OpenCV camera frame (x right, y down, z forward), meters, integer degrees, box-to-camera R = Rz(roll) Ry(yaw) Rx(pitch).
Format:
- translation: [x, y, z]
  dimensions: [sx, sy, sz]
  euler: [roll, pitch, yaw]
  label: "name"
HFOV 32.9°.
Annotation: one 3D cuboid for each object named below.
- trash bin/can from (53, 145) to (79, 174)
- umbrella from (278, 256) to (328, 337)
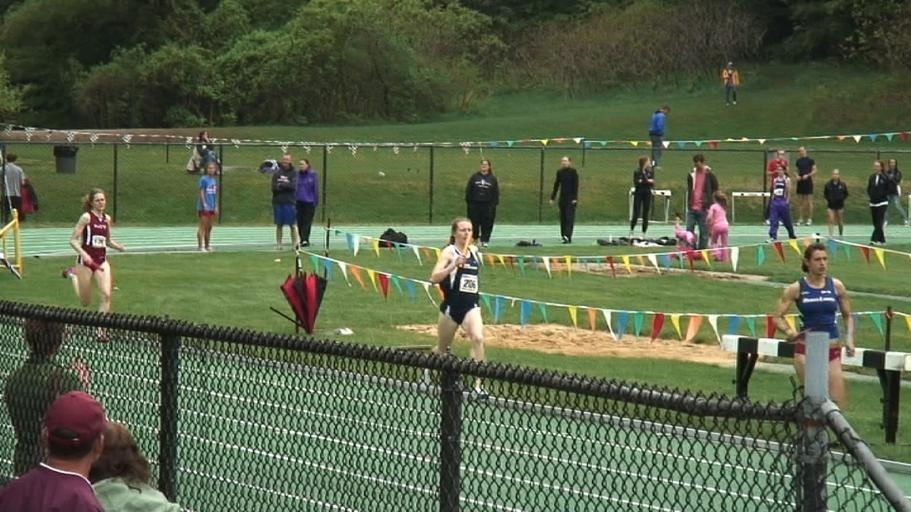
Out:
- translation: [-22.286, -5.560, 88.252]
  dimensions: [1.133, 1.729, 2.062]
  euler: [0, 7, -16]
  label: "trash bin/can"
- translation: [-6.554, 1.649, 66.953]
  dimensions: [2.070, 3.439, 2.249]
  euler: [-12, -13, 9]
  label: "umbrella"
